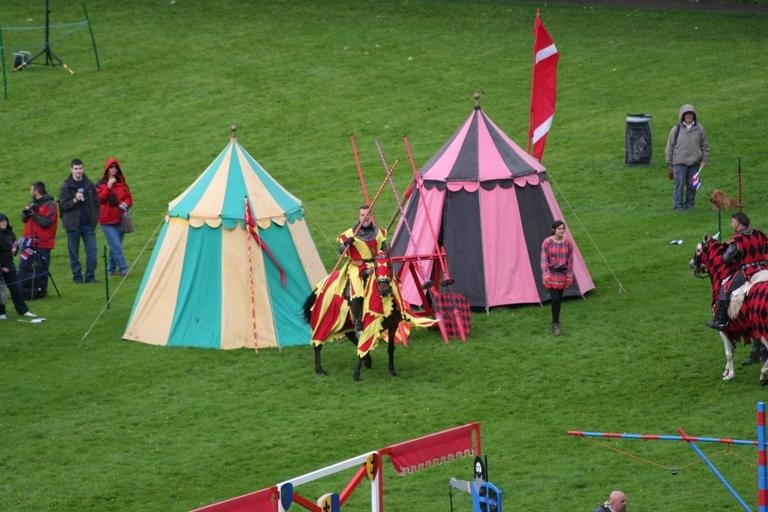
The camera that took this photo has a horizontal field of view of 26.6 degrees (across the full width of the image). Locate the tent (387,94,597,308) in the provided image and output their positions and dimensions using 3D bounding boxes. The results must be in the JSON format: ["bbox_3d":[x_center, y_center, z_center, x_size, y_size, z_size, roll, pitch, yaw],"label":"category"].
[{"bbox_3d":[2.058,-0.524,35.897,5.243,3.798,4.341,-7,15,-16],"label":"tent"}]

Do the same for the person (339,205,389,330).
[{"bbox_3d":[-0.363,0.286,32.044,0.925,2.404,0.800,4,0,-4],"label":"person"}]

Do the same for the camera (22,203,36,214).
[{"bbox_3d":[-7.665,-0.949,35.417,0.266,0.208,0.425,4,18,3],"label":"camera"}]

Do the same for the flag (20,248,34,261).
[{"bbox_3d":[-7.574,0.015,34.710,0.250,0.131,0.201,-31,-33,17],"label":"flag"}]

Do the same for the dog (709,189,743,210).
[{"bbox_3d":[6.848,-1.044,32.334,0.439,0.395,0.589,0,10,32],"label":"dog"}]

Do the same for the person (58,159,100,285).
[{"bbox_3d":[-6.564,-0.674,35.504,0.834,2.782,1.285,-7,9,-10],"label":"person"}]

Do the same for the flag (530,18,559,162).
[{"bbox_3d":[3.589,-3.549,36.274,0.790,3.447,0.335,2,2,-41],"label":"flag"}]

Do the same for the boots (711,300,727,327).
[{"bbox_3d":[6.443,1.242,31.169,0.245,0.452,0.494,4,10,-6],"label":"boots"}]

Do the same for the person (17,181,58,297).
[{"bbox_3d":[-7.407,-0.229,34.981,0.705,2.477,0.855,10,-3,-19],"label":"person"}]

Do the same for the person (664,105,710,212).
[{"bbox_3d":[7.078,-2.210,37.690,1.038,2.552,0.853,1,-2,8],"label":"person"}]

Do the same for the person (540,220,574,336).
[{"bbox_3d":[3.519,0.504,33.171,0.715,2.197,0.545,3,2,19],"label":"person"}]

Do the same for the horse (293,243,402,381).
[{"bbox_3d":[-0.589,1.205,32.562,1.746,2.634,1.872,4,-5,-9],"label":"horse"}]
